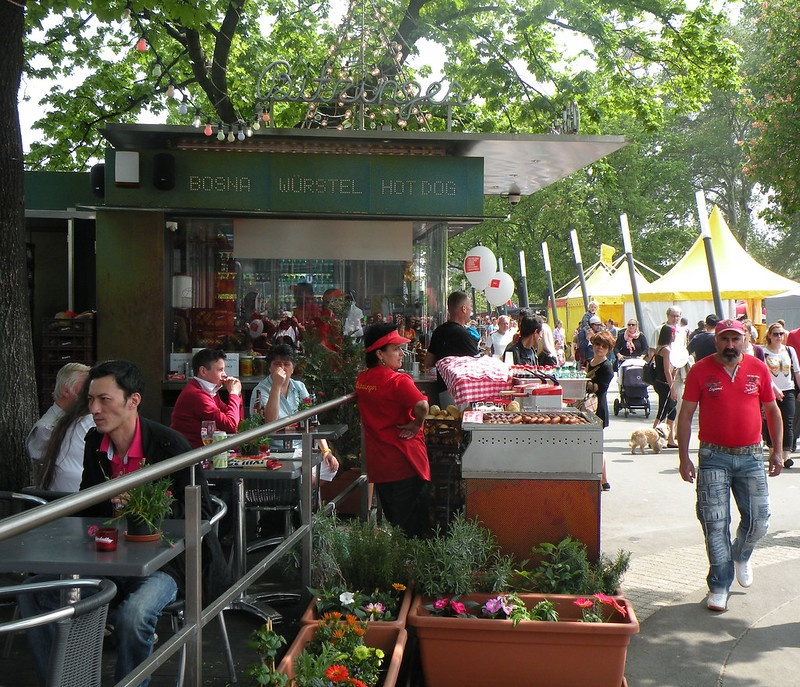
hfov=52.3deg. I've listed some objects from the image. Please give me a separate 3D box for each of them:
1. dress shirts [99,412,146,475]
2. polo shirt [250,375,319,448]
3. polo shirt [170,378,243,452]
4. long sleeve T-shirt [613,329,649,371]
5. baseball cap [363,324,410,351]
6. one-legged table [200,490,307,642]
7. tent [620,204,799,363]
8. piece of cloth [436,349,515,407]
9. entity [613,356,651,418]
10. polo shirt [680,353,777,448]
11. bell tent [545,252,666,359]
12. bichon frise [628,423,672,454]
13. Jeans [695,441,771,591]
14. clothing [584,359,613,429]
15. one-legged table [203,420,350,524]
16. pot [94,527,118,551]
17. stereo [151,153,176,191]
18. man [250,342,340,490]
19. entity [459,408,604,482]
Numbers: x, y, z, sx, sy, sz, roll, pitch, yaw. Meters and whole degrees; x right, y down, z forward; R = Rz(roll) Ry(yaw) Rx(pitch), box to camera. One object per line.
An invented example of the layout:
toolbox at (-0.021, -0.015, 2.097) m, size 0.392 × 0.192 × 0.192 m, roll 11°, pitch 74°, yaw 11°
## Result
dress shirts at (-1.465, 0.546, 4.331) m, size 0.214 × 0.326 × 0.168 m, roll 3°, pitch 12°, yaw -16°
polo shirt at (-0.931, 0.552, 6.557) m, size 0.562 × 0.674 × 0.350 m, roll 1°, pitch -10°, yaw -19°
polo shirt at (-1.591, 0.634, 6.845) m, size 0.540 × 0.753 × 0.587 m, roll 3°, pitch 12°, yaw -9°
long sleeve T-shirt at (4.795, 0.145, 16.977) m, size 0.753 × 1.084 × 0.687 m, roll -1°, pitch -10°, yaw 12°
baseball cap at (-0.118, -0.018, 6.186) m, size 0.258 × 0.102 × 0.181 m, roll -22°, pitch 2°, yaw 5°
one-legged table at (-1.074, 1.336, 5.532) m, size 0.661 × 0.939 × 0.717 m, roll 2°, pitch -5°, yaw -6°
tent at (10.174, -2.085, 24.251) m, size 5.016 × 3.861 × 5.129 m, roll 2°, pitch -2°, yaw -20°
piece of cloth at (0.639, 0.283, 7.324) m, size 0.481 × 0.238 × 0.838 m, roll -3°, pitch 13°, yaw -13°
entity at (4.918, 0.887, 17.290) m, size 0.801 × 1.233 × 0.883 m, roll -2°, pitch -4°, yaw 29°
polo shirt at (2.529, 0.429, 6.258) m, size 0.641 × 0.675 × 0.387 m, roll -1°, pitch 6°, yaw 12°
bell tent at (8.203, -2.339, 32.535) m, size 3.762 × 3.331 × 3.874 m, roll -6°, pitch 3°, yaw -12°
bichon frise at (4.025, 1.502, 13.001) m, size 0.926 × 0.544 × 0.281 m, roll -4°, pitch 6°, yaw -35°
Jeans at (2.508, 1.345, 6.219) m, size 0.580 × 1.191 × 0.343 m, roll -2°, pitch 1°, yaw -20°
clothing at (2.118, 0.677, 8.779) m, size 0.215 × 0.686 × 0.226 m, roll 15°, pitch -34°, yaw -20°
one-legged table at (-0.975, 0.821, 6.211) m, size 0.752 × 0.299 × 1.240 m, roll 0°, pitch 6°, yaw 7°
pot at (-1.259, 0.829, 3.488) m, size 0.078 × 0.070 × 0.086 m, roll 1°, pitch 3°, yaw -19°
stereo at (-2.978, -2.176, 10.350) m, size 0.249 × 0.454 × 0.160 m, roll -2°, pitch 1°, yaw -4°
man at (-0.995, 0.614, 7.506) m, size 0.778 × 1.208 × 0.779 m, roll -1°, pitch 6°, yaw 10°
entity at (0.933, 0.676, 5.627) m, size 0.989 × 0.418 × 1.081 m, roll -1°, pitch 0°, yaw 23°
